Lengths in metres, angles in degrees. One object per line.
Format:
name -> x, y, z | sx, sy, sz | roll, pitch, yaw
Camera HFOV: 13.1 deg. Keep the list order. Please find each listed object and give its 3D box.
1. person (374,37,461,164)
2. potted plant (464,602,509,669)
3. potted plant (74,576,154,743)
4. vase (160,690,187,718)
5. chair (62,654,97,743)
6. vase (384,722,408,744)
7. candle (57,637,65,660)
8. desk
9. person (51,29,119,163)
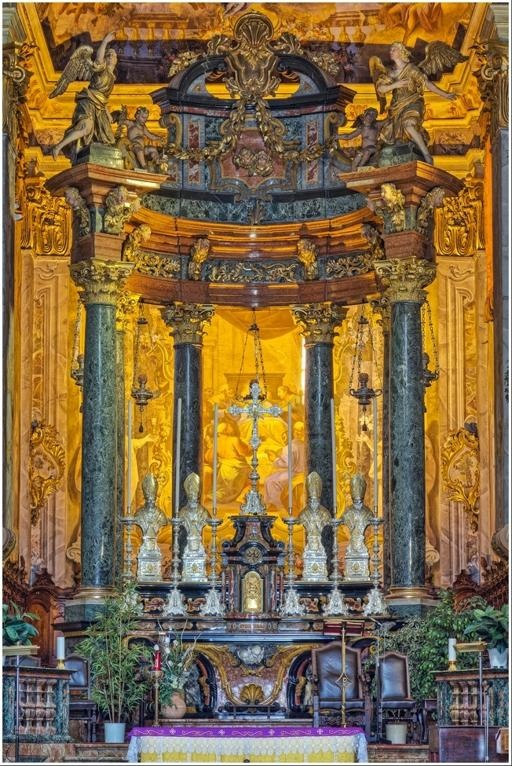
person -> 1.370, -2.456, 19.958 | 0.809, 1.242, 0.425 | -13, -25, 31
potted plant -> 1.698, 1.812, 16.281 | 0.364, 0.451, 0.403 | 0, -12, 2
potted plant -> -1.084, 2.214, 17.855 | 0.732, 1.875, 0.838 | 1, -20, -4
vase -> -0.616, 2.462, 17.461 | 0.175, 0.240, 0.190 | 3, -17, -5
chair -> -1.348, 2.448, 17.729 | 0.251, 0.769, 0.572 | 0, -15, -5
vase -> 1.098, 2.682, 17.419 | 0.134, 0.143, 0.145 | -3, -12, 12
candle -> -1.471, 2.014, 17.267 | 0.041, 0.186, 0.108 | 3, -15, -14
desk -> -0.043, 2.479, 15.567 | 1.629, 0.279, 0.237 | -1, -15, -3
person -> -1.496, -2.587, 19.975 | 0.562, 1.231, 0.876 | 7, -17, -27
